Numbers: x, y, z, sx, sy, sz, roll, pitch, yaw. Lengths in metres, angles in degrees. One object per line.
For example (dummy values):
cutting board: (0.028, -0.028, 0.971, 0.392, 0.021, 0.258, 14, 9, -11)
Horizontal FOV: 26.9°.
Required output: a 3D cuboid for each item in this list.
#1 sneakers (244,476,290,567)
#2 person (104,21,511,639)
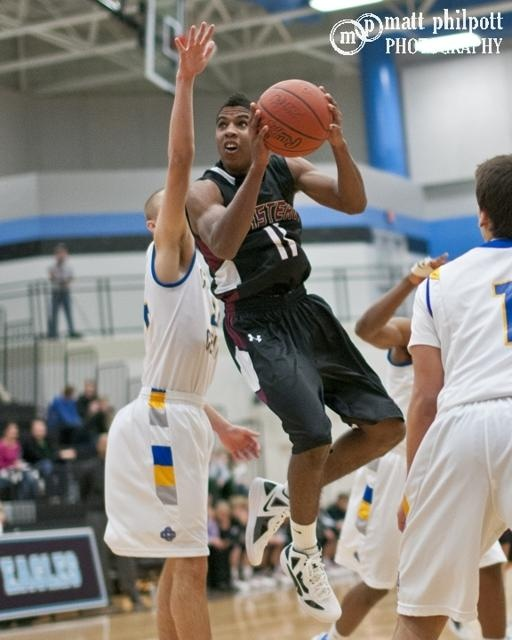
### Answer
sneakers: (0.048, 0.843, 4.683, 0.211, 0.429, 0.141, 0, -6, 14)
person: (-0.036, 0.018, 4.389, 1.236, 2.416, 0.665, -7, 5, -30)
